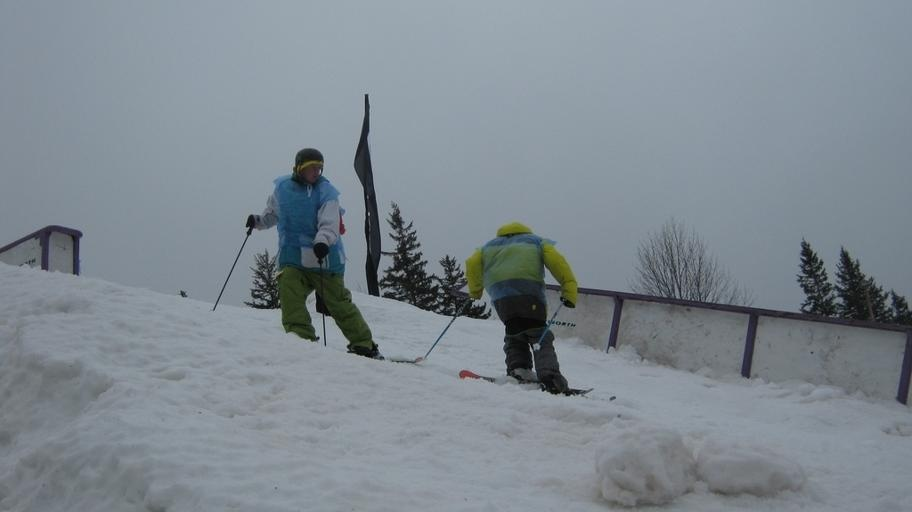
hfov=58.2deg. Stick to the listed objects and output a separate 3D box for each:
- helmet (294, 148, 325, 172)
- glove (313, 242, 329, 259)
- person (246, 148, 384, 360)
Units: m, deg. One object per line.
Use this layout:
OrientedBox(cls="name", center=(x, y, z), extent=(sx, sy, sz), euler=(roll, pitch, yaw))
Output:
OrientedBox(cls="helmet", center=(-1.852, -1.200, 10.264), extent=(0.319, 0.285, 0.451), euler=(3, 5, -13))
OrientedBox(cls="glove", center=(-1.670, -0.078, 10.239), extent=(0.184, 0.190, 0.180), euler=(13, 34, -12))
OrientedBox(cls="person", center=(-1.791, -0.060, 10.340), extent=(1.415, 2.551, 1.030), euler=(3, 5, -16))
